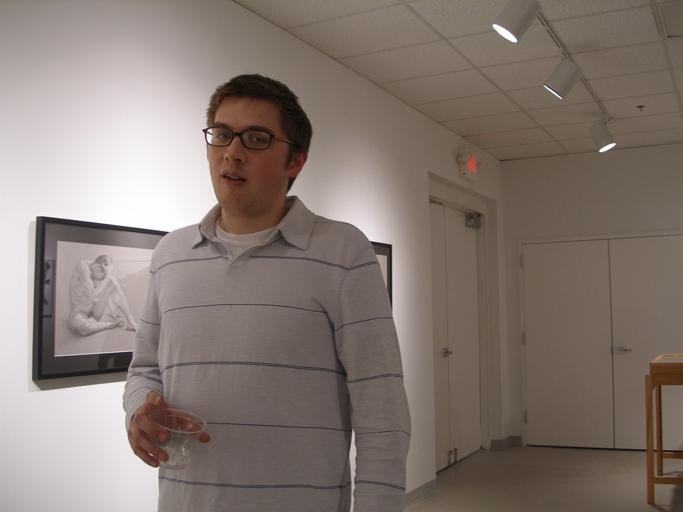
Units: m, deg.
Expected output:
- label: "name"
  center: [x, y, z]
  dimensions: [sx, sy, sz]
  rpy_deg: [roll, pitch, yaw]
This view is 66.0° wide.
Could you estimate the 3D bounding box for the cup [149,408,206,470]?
- label: "cup"
  center: [-0.382, 0.423, 1.218]
  dimensions: [0.130, 0.132, 0.085]
  rpy_deg: [-5, -8, 37]
